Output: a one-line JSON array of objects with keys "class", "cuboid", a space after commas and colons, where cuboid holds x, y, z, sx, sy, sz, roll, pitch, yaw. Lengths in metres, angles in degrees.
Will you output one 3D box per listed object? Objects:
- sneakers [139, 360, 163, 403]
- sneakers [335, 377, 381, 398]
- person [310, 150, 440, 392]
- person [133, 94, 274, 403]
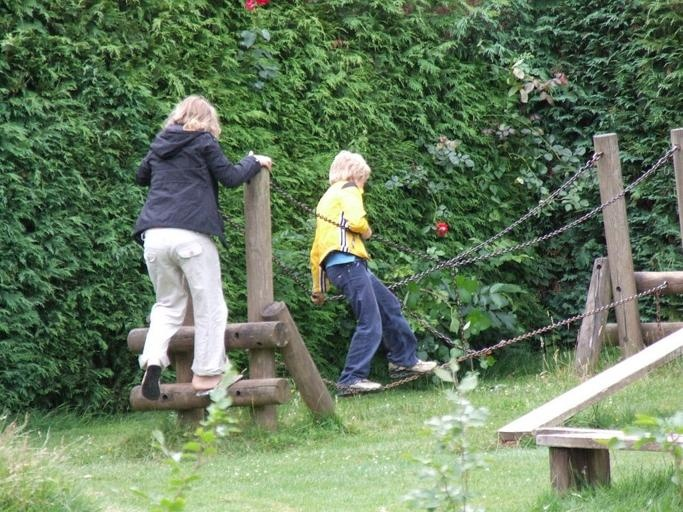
[{"class": "sneakers", "cuboid": [-1.589, 1.022, 9.649, 0.142, 0.313, 0.118, -2, 5, -22]}, {"class": "sneakers", "cuboid": [0.148, 1.211, 10.882, 0.427, 0.187, 0.172, -8, 1, 9]}, {"class": "person", "cuboid": [0.177, 0.140, 10.865, 0.936, 2.250, 0.746, -3, 0, -2]}, {"class": "person", "cuboid": [-1.249, -0.088, 9.706, 0.955, 2.520, 0.417, -3, 0, -9]}]
